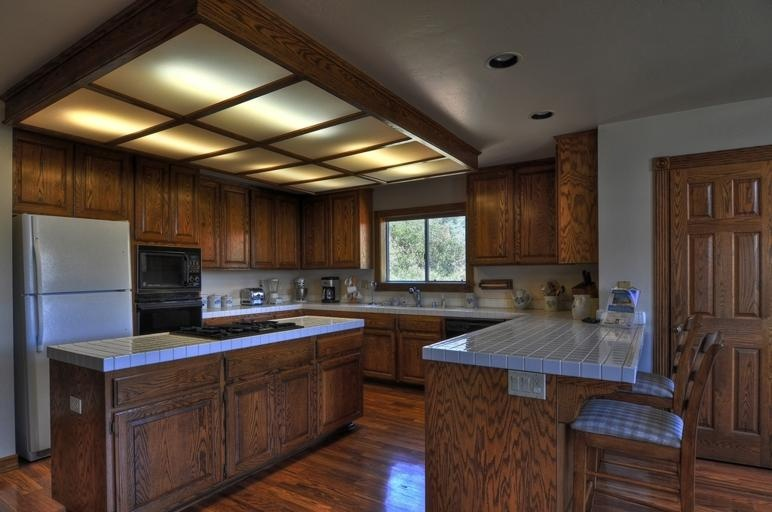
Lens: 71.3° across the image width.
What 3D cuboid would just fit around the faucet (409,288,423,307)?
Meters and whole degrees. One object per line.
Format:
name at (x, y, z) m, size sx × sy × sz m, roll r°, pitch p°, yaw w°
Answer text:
faucet at (0.371, 0.521, 7.009) m, size 0.210 × 0.237 × 0.253 m, roll 3°, pitch 11°, yaw 15°

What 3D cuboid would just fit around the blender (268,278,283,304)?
blender at (-1.541, 0.494, 7.487) m, size 0.169 × 0.308 × 0.548 m, roll -2°, pitch 11°, yaw -10°

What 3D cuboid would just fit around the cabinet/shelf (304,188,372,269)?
cabinet/shelf at (-0.608, -0.382, 7.300) m, size 1.143 × 1.044 × 0.363 m, roll 0°, pitch -1°, yaw 30°

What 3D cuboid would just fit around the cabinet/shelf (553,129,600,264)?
cabinet/shelf at (1.923, -0.595, 5.422) m, size 0.453 × 1.319 × 0.284 m, roll 3°, pitch 12°, yaw 16°

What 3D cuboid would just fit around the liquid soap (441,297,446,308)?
liquid soap at (0.739, 0.580, 6.864) m, size 0.068 × 0.114 × 0.129 m, roll 1°, pitch 11°, yaw 5°

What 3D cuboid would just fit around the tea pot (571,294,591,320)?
tea pot at (1.982, 0.509, 5.447) m, size 0.239 × 0.222 × 0.176 m, roll 7°, pitch -8°, yaw -31°

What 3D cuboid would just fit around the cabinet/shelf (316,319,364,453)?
cabinet/shelf at (-0.430, 1.151, 5.130) m, size 0.236 × 0.889 × 0.755 m, roll 6°, pitch 12°, yaw 27°

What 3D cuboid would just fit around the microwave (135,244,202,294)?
microwave at (-2.370, 0.144, 5.871) m, size 0.460 × 0.504 × 0.716 m, roll -3°, pitch -7°, yaw 29°

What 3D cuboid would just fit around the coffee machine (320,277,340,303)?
coffee machine at (-0.777, 0.468, 7.572) m, size 0.234 × 0.339 × 0.234 m, roll -1°, pitch 11°, yaw -1°

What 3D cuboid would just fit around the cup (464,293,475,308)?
cup at (1.063, 0.550, 6.714) m, size 0.138 × 0.157 × 0.163 m, roll 1°, pitch 11°, yaw 5°

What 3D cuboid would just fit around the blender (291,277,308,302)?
blender at (-1.268, 0.483, 7.923) m, size 0.205 × 0.319 × 0.261 m, roll 6°, pitch 12°, yaw 28°

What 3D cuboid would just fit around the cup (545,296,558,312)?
cup at (1.897, 0.546, 6.160) m, size 0.163 × 0.168 × 0.158 m, roll 0°, pitch 4°, yaw 0°

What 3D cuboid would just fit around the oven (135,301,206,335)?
oven at (-2.389, 0.640, 5.922) m, size 0.654 × 0.403 × 0.349 m, roll -1°, pitch 10°, yaw -29°

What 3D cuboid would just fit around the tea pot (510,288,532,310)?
tea pot at (1.624, 0.479, 6.480) m, size 0.299 × 0.273 × 0.216 m, roll 1°, pitch 3°, yaw 28°

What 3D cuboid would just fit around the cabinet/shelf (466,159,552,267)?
cabinet/shelf at (1.473, -0.514, 6.241) m, size 1.277 × 1.172 × 0.441 m, roll -1°, pitch -2°, yaw 35°

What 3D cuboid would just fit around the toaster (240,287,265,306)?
toaster at (-1.775, 0.538, 7.140) m, size 0.251 × 0.224 × 0.264 m, roll -2°, pitch -4°, yaw 7°
